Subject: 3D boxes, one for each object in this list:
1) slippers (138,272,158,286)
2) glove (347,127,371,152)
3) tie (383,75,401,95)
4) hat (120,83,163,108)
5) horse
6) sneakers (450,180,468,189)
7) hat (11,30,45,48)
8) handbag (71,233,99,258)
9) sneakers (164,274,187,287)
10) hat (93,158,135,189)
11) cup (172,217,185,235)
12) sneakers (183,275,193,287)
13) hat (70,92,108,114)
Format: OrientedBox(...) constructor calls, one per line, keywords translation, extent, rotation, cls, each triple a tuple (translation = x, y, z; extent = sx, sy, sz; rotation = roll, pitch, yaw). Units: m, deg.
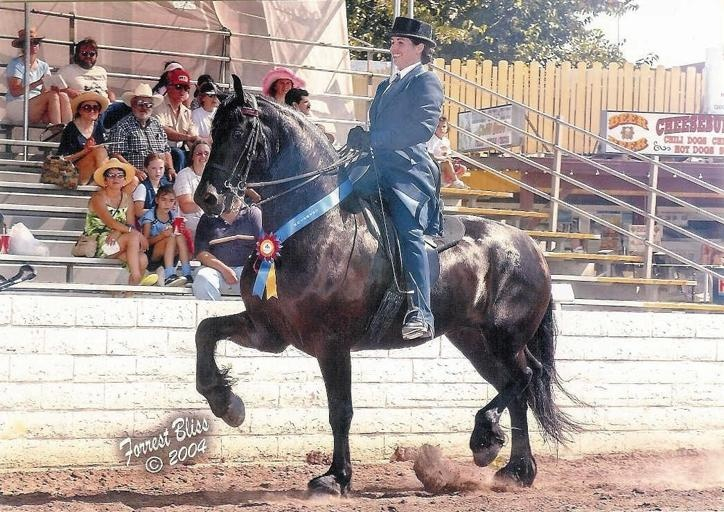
OrientedBox(translation=(-2.539, 0.266, 17.396), extent=(0.219, 0.126, 0.582), rotation=(3, 8, -6), cls="slippers")
OrientedBox(translation=(-0.035, -1.286, 15.867), extent=(0.215, 0.283, 0.101), rotation=(11, 22, 11), cls="glove")
OrientedBox(translation=(0.330, -1.930, 16.033), extent=(0.084, 0.292, 0.083), rotation=(29, -16, 19), cls="tie")
OrientedBox(translation=(-2.919, -2.152, 19.421), extent=(0.523, 0.220, 0.574), rotation=(1, -17, -15), cls="hat")
OrientedBox(translation=(0.253, 0.472, 17.005), extent=(5.663, 4.668, 1.856), rotation=(2, -7, -21), cls="horse")
OrientedBox(translation=(1.468, -1.088, 21.890), extent=(0.283, 0.115, 0.095), rotation=(-2, 11, -10), cls="sneakers")
OrientedBox(translation=(-4.561, -3.024, 19.855), extent=(0.341, 0.140, 0.372), rotation=(-10, -11, -27), cls="hat")
OrientedBox(translation=(-3.298, -0.127, 17.430), extent=(0.277, 0.267, 0.108), rotation=(10, -19, 29), cls="handbag")
OrientedBox(translation=(-2.210, 0.282, 17.313), extent=(0.276, 0.128, 0.228), rotation=(3, 8, -8), cls="sneakers")
OrientedBox(translation=(-3.028, -1.033, 17.921), extent=(0.499, 0.362, 0.370), rotation=(3, 8, -9), cls="hat")
OrientedBox(translation=(-2.212, -0.372, 17.554), extent=(0.202, 0.191, 0.115), rotation=(3, -4, 2), cls="cup")
OrientedBox(translation=(-2.079, 0.288, 17.367), extent=(0.140, 0.166, 0.404), rotation=(0, -1, -4), cls="sneakers")
OrientedBox(translation=(-3.546, -2.046, 18.929), extent=(0.339, 0.086, 0.331), rotation=(-15, -15, 14), cls="hat")
